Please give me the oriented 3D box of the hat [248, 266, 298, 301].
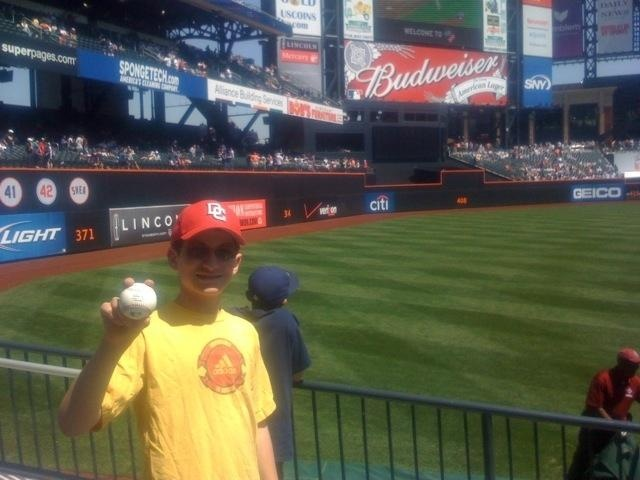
[{"bbox_3d":[-0.458,0.456,6.661,0.414,0.245,0.304,-19,54,-45],"label":"hat"}]
